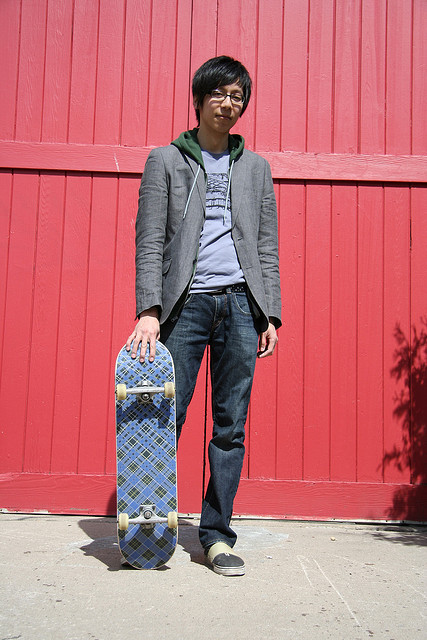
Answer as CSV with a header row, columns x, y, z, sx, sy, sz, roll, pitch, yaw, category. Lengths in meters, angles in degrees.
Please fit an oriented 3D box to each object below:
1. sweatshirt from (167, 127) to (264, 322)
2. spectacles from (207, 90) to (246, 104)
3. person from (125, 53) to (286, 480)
x,y,z,sx,sy,sz,roll,pitch,yaw,category
0.005,-0.359,2.509,0.338,0.765,0.305,2,-4,-8,sweatshirt
0.044,-0.790,2.435,0.121,0.038,0.033,3,-5,-13,spectacles
-0.023,-0.193,2.465,0.579,1.497,0.307,3,-4,-15,person
